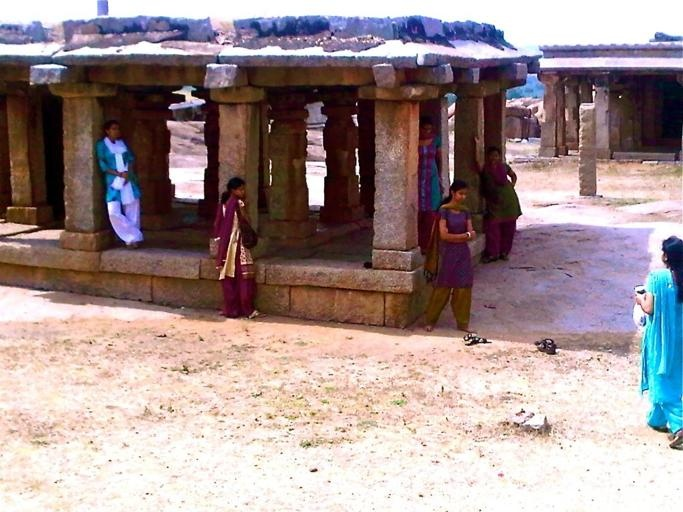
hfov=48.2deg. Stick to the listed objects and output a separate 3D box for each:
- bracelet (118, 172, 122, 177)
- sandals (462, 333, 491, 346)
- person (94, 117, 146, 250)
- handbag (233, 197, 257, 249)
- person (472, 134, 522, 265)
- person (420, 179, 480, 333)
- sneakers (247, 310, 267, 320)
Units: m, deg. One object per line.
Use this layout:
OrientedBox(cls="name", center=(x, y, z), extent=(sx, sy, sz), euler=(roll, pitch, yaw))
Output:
OrientedBox(cls="bracelet", center=(-2.762, -1.024, 9.580), extent=(0.062, 0.057, 0.015), euler=(3, 2, -20))
OrientedBox(cls="sandals", center=(1.443, 0.909, 8.321), extent=(0.336, 0.148, 0.107), euler=(-3, 6, 0))
OrientedBox(cls="person", center=(-2.822, -0.907, 9.725), extent=(0.515, 1.609, 0.375), euler=(-5, 10, -21))
OrientedBox(cls="handbag", center=(-1.111, -0.352, 8.955), extent=(0.129, 0.473, 0.341), euler=(-17, 7, 16))
OrientedBox(cls="person", center=(2.254, -0.821, 11.086), extent=(0.674, 1.741, 0.439), euler=(-2, 9, -4))
OrientedBox(cls="person", center=(1.198, 0.003, 8.573), extent=(0.552, 1.686, 0.361), euler=(0, 9, 7))
OrientedBox(cls="sneakers", center=(-1.008, 0.703, 9.106), extent=(0.080, 0.092, 0.223), euler=(-45, -15, 17))
